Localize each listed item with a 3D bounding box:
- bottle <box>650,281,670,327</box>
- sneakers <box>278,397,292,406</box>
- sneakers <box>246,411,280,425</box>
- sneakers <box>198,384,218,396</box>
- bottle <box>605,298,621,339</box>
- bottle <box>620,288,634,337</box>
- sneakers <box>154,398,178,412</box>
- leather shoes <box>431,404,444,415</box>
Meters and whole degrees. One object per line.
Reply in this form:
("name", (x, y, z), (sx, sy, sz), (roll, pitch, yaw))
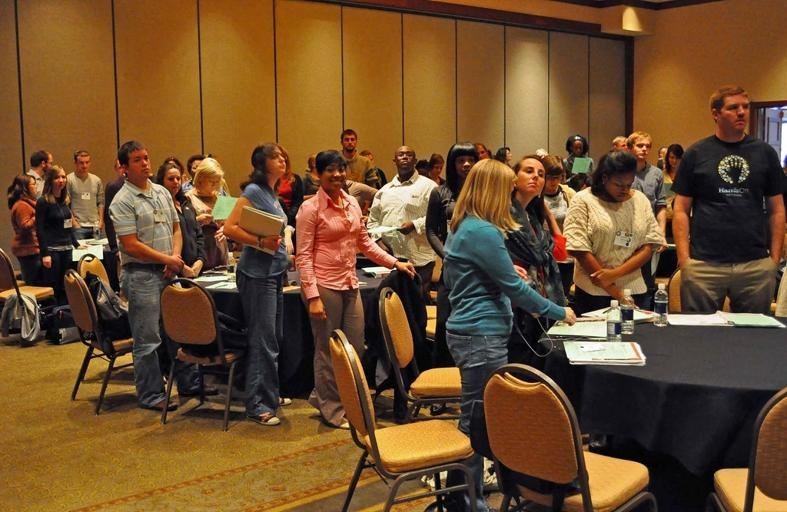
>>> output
("bottle", (1.808, 0.321, 4.260), (0.090, 0.233, 0.301), (4, 13, 23))
("sneakers", (-0.955, 1.264, 5.492), (0.106, 0.073, 0.199), (0, -2, -3))
("sneakers", (-1.067, 1.299, 5.121), (0.252, 0.091, 0.101), (-1, 1, 14))
("sneakers", (-1.672, 1.195, 5.688), (0.188, 0.082, 0.102), (2, 4, 2))
("bottle", (1.402, 0.390, 3.998), (0.086, 0.219, 0.270), (3, 13, 21))
("bottle", (1.534, 0.341, 4.136), (0.096, 0.259, 0.317), (3, 13, 20))
("sneakers", (-1.915, 1.252, 5.393), (0.257, 0.111, 0.104), (-2, 5, -9))
("leather shoes", (0.354, 1.254, 5.140), (0.082, 0.066, 0.157), (3, 4, 23))
